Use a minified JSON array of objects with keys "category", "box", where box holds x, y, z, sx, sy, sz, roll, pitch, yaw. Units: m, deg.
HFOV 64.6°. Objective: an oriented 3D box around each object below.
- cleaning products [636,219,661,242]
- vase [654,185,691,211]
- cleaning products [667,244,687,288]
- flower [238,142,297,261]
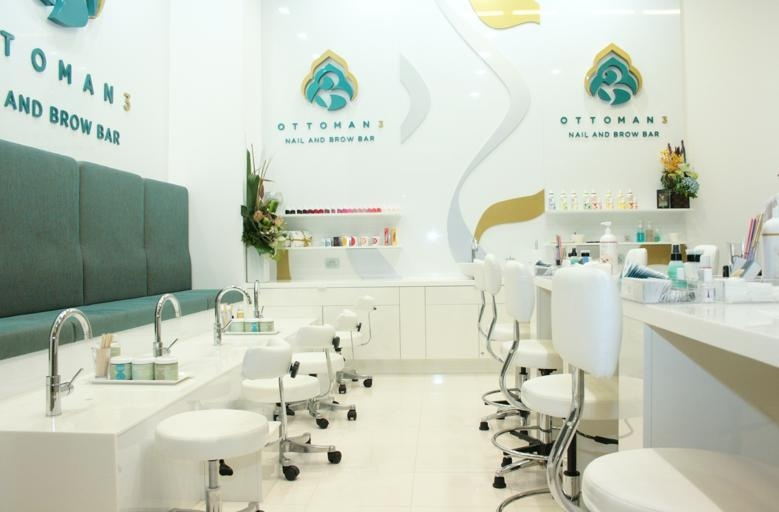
[{"category":"cleaning products","box":[3.092,-0.287,7.366,0.248,0.304,0.260,1,3,20]},{"category":"vase","box":[3.374,-0.654,7.306,0.408,0.304,0.230,0,-4,2]},{"category":"cleaning products","box":[1.788,0.077,3.837,0.132,0.288,0.137,-1,7,28]},{"category":"flower","box":[-1.494,-0.627,7.408,0.481,1.306,0.568,0,10,3]}]
